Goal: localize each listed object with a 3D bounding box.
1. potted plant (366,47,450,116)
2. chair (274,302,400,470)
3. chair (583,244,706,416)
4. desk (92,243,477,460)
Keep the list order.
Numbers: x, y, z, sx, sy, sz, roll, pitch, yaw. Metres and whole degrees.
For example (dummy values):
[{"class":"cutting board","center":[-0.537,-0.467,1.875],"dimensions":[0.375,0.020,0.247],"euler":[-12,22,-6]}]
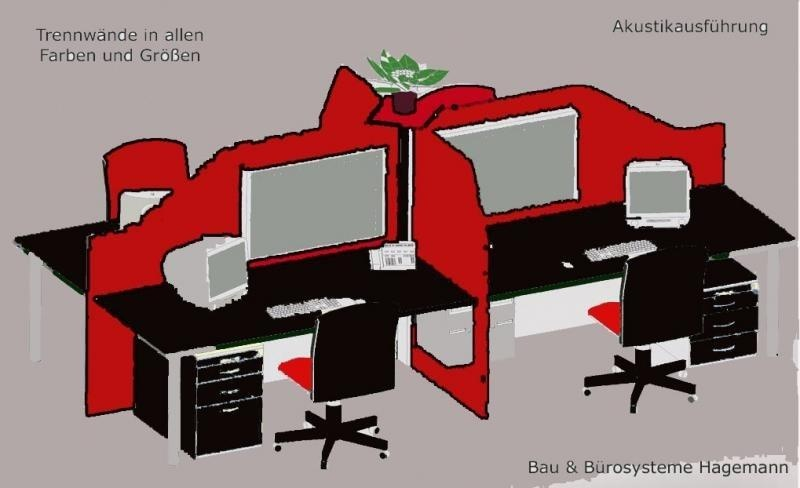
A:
[{"class":"potted plant","center":[0.059,-1.451,7.649],"dimensions":[0.627,0.346,0.252],"euler":[-5,34,0]},{"class":"chair","center":[-0.512,0.970,6.826],"dimensions":[0.919,1.129,0.865],"euler":[9,10,39]},{"class":"chair","center":[2.079,0.623,7.492],"dimensions":[0.985,1.275,0.916],"euler":[0,14,14]},{"class":"desk","center":[-1.061,0.667,6.802],"dimensions":[2.775,1.138,1.416],"euler":[-11,25,-26]}]
